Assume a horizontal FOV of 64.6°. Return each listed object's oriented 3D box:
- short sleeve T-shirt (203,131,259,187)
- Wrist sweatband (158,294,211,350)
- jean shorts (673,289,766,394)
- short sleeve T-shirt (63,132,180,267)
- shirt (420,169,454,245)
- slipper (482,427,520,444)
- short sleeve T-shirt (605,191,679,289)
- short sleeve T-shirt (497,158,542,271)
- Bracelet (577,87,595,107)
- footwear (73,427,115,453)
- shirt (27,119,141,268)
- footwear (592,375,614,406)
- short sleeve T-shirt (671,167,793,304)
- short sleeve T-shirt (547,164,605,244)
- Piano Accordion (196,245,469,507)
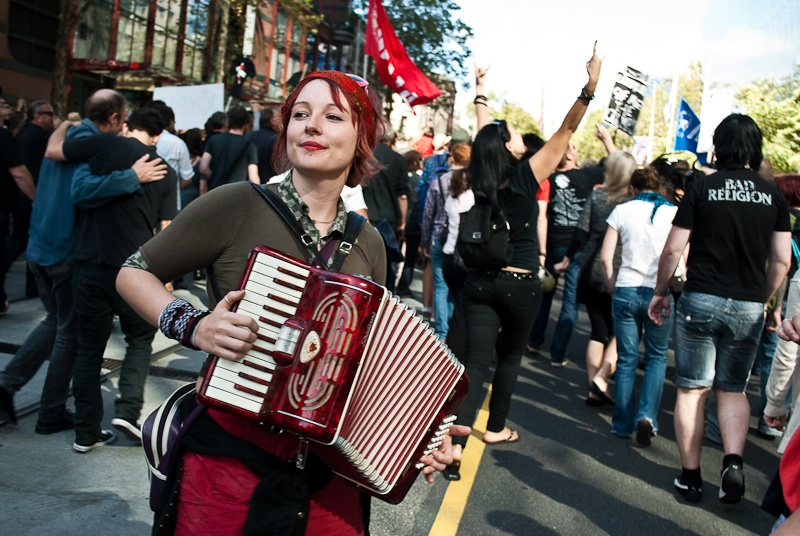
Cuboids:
[{"bbox_3d":[-2.483,-1.611,9.316,0.740,0.924,0.490,4,33,-16],"label":"short sleeve T-shirt"},{"bbox_3d":[-0.906,0.210,2.692,0.188,0.211,0.095,26,35,16],"label":"Wrist sweatband"},{"bbox_3d":[2.708,0.620,5.416,0.621,0.925,0.524,4,6,10],"label":"jean shorts"},{"bbox_3d":[-2.353,-0.565,5.274,0.576,1.158,1.083,16,6,36],"label":"short sleeve T-shirt"},{"bbox_3d":[0.637,-0.768,8.746,0.472,0.864,0.824,0,-16,-7],"label":"shirt"},{"bbox_3d":[0.966,1.605,6.128,0.351,0.158,0.136,-9,16,-14],"label":"slipper"},{"bbox_3d":[2.484,-0.273,6.439,0.712,0.962,0.300,21,49,27],"label":"short sleeve T-shirt"},{"bbox_3d":[1.042,-0.450,5.404,0.429,0.941,0.251,-2,14,-32],"label":"short sleeve T-shirt"},{"bbox_3d":[1.474,-1.374,5.033,0.114,0.149,0.197,9,13,15],"label":"Bracelet"},{"bbox_3d":[-2.431,1.390,5.075,0.109,0.127,0.330,20,26,24],"label":"footwear"},{"bbox_3d":[-2.515,-0.582,5.106,1.000,1.259,0.648,25,9,39],"label":"shirt"},{"bbox_3d":[2.282,1.432,7.211,0.456,0.177,0.148,45,-7,-35],"label":"footwear"},{"bbox_3d":[2.839,-0.328,5.467,0.904,1.112,0.553,0,15,10],"label":"short sleeve T-shirt"},{"bbox_3d":[2.248,-0.816,8.172,0.832,0.903,0.469,12,13,11],"label":"short sleeve T-shirt"},{"bbox_3d":[-0.290,0.444,2.675,0.986,0.771,0.296,29,-30,-9],"label":"Piano Accordion"}]
